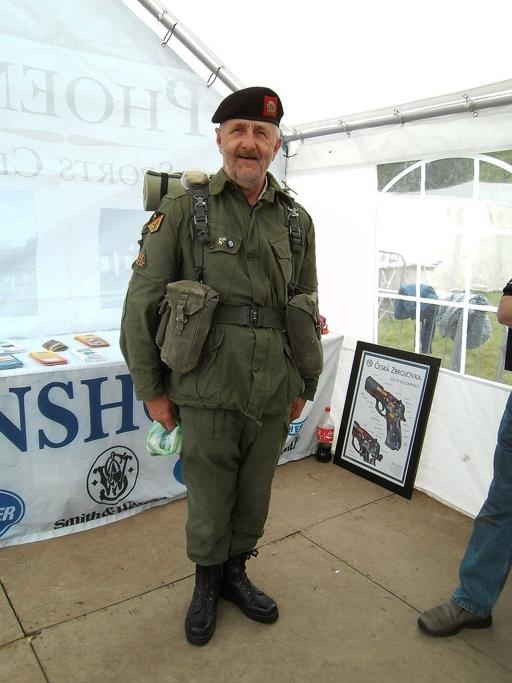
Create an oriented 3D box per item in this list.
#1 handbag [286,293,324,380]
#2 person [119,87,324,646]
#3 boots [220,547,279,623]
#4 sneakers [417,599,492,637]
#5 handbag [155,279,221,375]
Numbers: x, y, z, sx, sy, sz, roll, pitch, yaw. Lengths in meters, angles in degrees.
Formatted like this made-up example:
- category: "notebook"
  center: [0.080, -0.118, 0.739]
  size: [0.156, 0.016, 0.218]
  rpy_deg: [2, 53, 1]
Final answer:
- category: "handbag"
  center: [0.166, -0.017, 1.967]
  size: [0.126, 0.307, 0.131]
  rpy_deg: [-5, 22, -28]
- category: "person"
  center: [0.044, 0.138, 2.154]
  size: [0.760, 2.051, 1.095]
  rpy_deg: [-3, 23, -25]
- category: "boots"
  center: [-0.029, 0.970, 2.105]
  size: [0.126, 0.207, 0.302]
  rpy_deg: [1, 1, -43]
- category: "sneakers"
  center: [0.802, 1.071, 2.071]
  size: [0.326, 0.134, 0.112]
  rpy_deg: [1, -2, -9]
- category: "handbag"
  center: [-0.219, -0.055, 1.708]
  size: [0.145, 0.337, 0.262]
  rpy_deg: [-3, 13, -45]
